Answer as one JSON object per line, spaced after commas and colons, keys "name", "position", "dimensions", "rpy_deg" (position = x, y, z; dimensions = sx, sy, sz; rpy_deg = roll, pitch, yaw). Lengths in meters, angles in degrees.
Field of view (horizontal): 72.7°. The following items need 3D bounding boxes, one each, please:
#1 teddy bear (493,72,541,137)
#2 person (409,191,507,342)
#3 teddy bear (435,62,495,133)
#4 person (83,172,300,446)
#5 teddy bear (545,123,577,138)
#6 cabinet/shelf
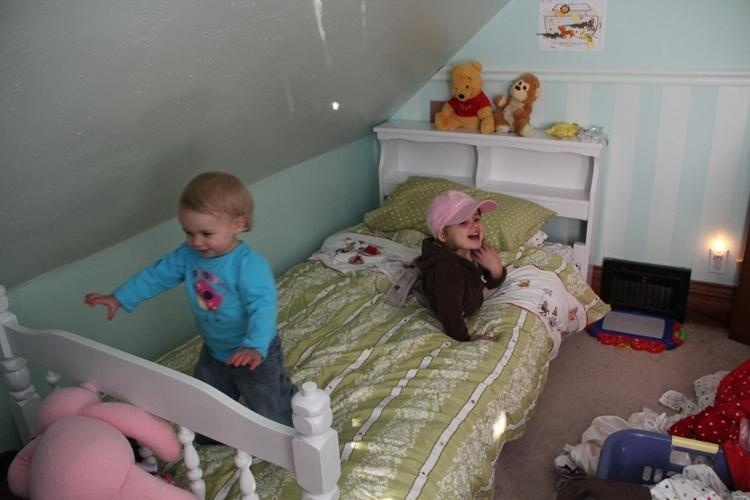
{"name": "teddy bear", "position": [0.912, -0.949, 3.295], "dimensions": [0.283, 0.382, 0.250], "rpy_deg": [6, 19, 13]}
{"name": "person", "position": [0.433, 0.093, 2.604], "dimensions": [0.413, 0.708, 0.531], "rpy_deg": [4, 34, 36]}
{"name": "teddy bear", "position": [0.610, -1.003, 3.378], "dimensions": [0.444, 0.445, 0.276], "rpy_deg": [14, 35, 34]}
{"name": "person", "position": [-0.585, 0.250, 1.871], "dimensions": [0.707, 1.053, 0.413], "rpy_deg": [12, 21, 27]}
{"name": "teddy bear", "position": [1.193, -0.753, 3.220], "dimensions": [0.113, 0.058, 0.145], "rpy_deg": [12, 17, 32]}
{"name": "cabinet/shelf", "position": [0.748, -0.294, 3.126], "dimensions": [1.044, 0.745, 0.344], "rpy_deg": [10, 21, 30]}
